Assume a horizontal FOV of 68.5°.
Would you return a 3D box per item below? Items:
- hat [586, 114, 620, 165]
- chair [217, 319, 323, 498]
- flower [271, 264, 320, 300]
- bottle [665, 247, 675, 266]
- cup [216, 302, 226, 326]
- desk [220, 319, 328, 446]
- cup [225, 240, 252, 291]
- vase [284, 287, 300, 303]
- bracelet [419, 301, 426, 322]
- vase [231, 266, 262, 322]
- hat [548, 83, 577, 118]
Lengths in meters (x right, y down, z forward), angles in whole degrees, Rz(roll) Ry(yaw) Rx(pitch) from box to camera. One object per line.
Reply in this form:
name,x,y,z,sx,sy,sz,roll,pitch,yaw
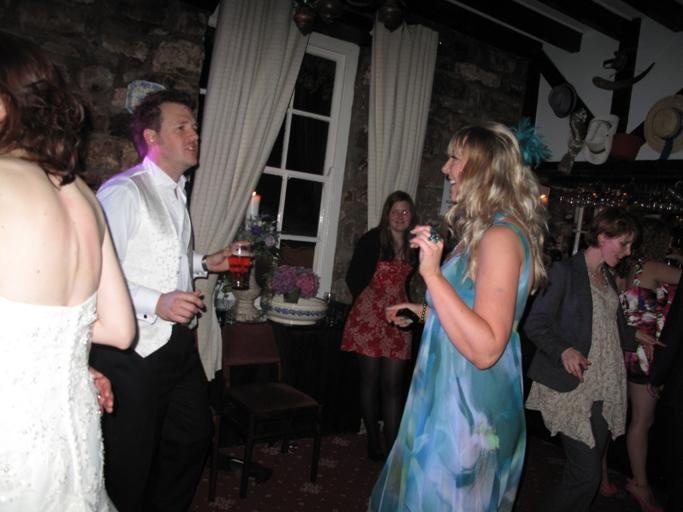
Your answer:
hat,2.610,-1.160,5.020,0.257,0.487,0.158,13,11,41
chair,-0.503,1.016,3.400,0.562,1.056,0.682,1,5,-26
flower,-0.341,0.183,3.695,0.249,0.176,0.243,2,15,-7
bottle,2.568,-0.001,3.917,0.031,0.132,0.094,-1,12,30
cup,-0.903,0.426,3.765,0.110,0.142,0.119,-2,-15,0
desk,-0.559,0.918,3.433,0.578,0.881,0.618,6,6,-13
cup,-0.584,0.049,2.873,0.134,0.287,0.148,0,-2,16
vase,-0.363,0.287,3.668,0.095,0.124,0.102,1,5,6
bracelet,0.406,0.274,2.466,0.020,0.075,0.050,9,4,18
vase,-0.711,0.267,3.646,0.199,0.407,0.209,-4,4,1
hat,2.269,-1.598,5.140,0.122,0.356,0.269,-7,18,-39
